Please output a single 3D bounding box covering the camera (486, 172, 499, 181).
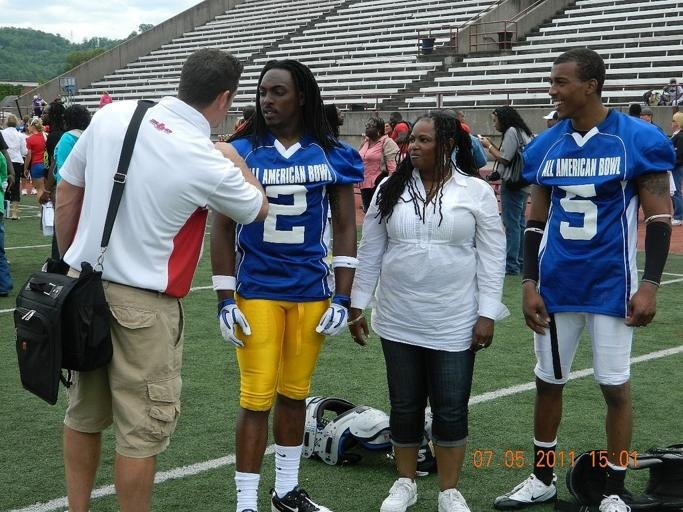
[{"bbox_3d":[2.041,-1.079,8.246,0.144,0.120,0.146,-1,2,0],"label":"camera"}]

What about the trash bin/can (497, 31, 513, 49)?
[{"bbox_3d":[6.157,-8.185,23.008,0.593,0.702,0.446,-1,7,2],"label":"trash bin/can"}]

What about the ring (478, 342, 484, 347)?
[{"bbox_3d":[0.727,0.460,3.172,0.019,0.015,0.027,5,8,22],"label":"ring"}]

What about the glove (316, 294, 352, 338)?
[{"bbox_3d":[-0.032,0.305,3.101,0.083,0.210,0.143,23,-28,-10],"label":"glove"}]

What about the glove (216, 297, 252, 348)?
[{"bbox_3d":[-0.548,0.327,2.986,0.060,0.227,0.163,-8,15,29],"label":"glove"}]

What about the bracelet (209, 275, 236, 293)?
[{"bbox_3d":[-0.579,0.139,3.043,0.081,0.060,0.080,-4,4,-39],"label":"bracelet"}]

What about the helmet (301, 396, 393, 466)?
[{"bbox_3d":[-0.004,1.065,3.704,0.316,0.220,0.494,1,1,-43],"label":"helmet"}]

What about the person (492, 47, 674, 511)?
[{"bbox_3d":[1.253,0.157,3.113,0.726,2.409,0.391,3,8,30],"label":"person"}]

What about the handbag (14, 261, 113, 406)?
[{"bbox_3d":[-1.153,0.310,2.526,0.399,0.562,0.231,-2,7,-8],"label":"handbag"}]
